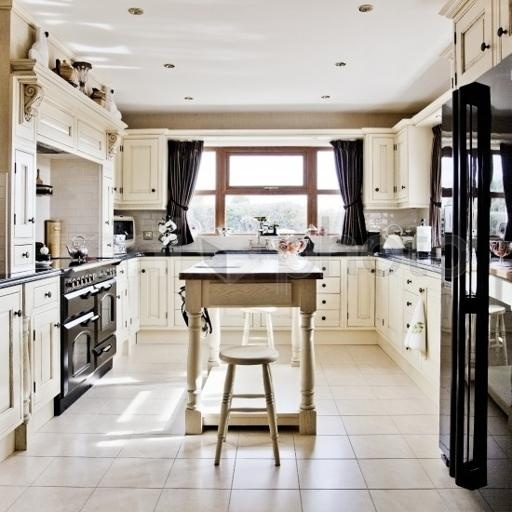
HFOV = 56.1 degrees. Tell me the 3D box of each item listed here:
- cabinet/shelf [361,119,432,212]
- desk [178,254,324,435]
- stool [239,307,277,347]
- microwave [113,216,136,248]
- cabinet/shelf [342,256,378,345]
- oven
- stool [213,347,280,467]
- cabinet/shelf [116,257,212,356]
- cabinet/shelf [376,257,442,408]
[{"bbox_3d":[1.512,-0.957,5.098,0.340,0.950,0.932,-3,4,-27],"label":"cabinet/shelf"},{"bbox_3d":[-0.070,0.619,3.068,0.916,0.974,0.753,0,-12,6],"label":"desk"},{"bbox_3d":[0.030,0.601,3.987,0.206,0.324,0.237,5,-4,23],"label":"stool"},{"bbox_3d":[-1.392,-0.306,5.128,0.218,0.294,0.412,0,-2,1],"label":"microwave"},{"bbox_3d":[1.185,0.281,5.177,0.361,0.845,0.453,4,33,17],"label":"cabinet/shelf"},{"bbox_3d":[-1.360,0.529,3.667,0.368,0.969,1.080,2,4,-1],"label":"oven"},{"bbox_3d":[-0.051,0.774,2.678,0.361,0.564,0.475,0,4,1],"label":"stool"},{"bbox_3d":[-0.809,0.481,4.832,0.723,1.193,0.851,0,-2,-5],"label":"cabinet/shelf"},{"bbox_3d":[1.181,0.588,3.666,0.279,0.485,0.928,1,3,5],"label":"cabinet/shelf"}]
